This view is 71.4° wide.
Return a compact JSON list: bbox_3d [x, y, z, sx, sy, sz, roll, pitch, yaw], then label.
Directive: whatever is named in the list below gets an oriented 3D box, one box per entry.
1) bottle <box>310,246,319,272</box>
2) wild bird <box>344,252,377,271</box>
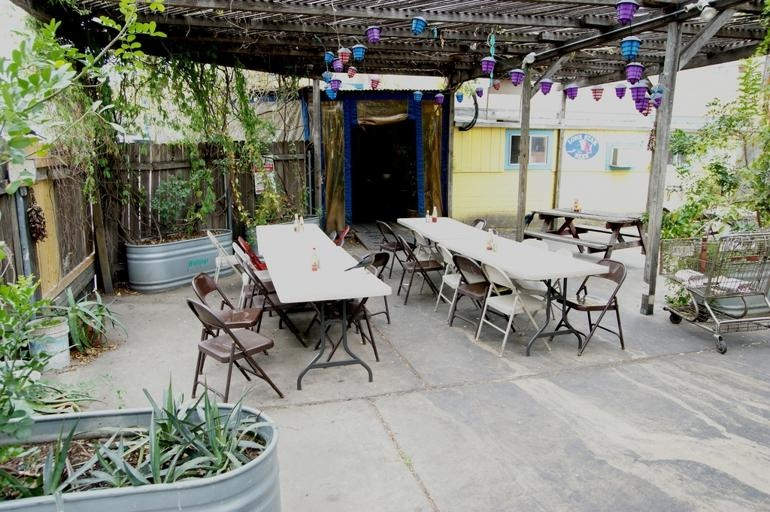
[{"bbox_3d":[-0.805,0.023,6.202,0.100,0.251,0.260,-3,13,-8],"label":"bottle"},{"bbox_3d":[-0.354,0.061,6.510,0.418,0.178,0.151,4,-5,41],"label":"wild bird"}]
